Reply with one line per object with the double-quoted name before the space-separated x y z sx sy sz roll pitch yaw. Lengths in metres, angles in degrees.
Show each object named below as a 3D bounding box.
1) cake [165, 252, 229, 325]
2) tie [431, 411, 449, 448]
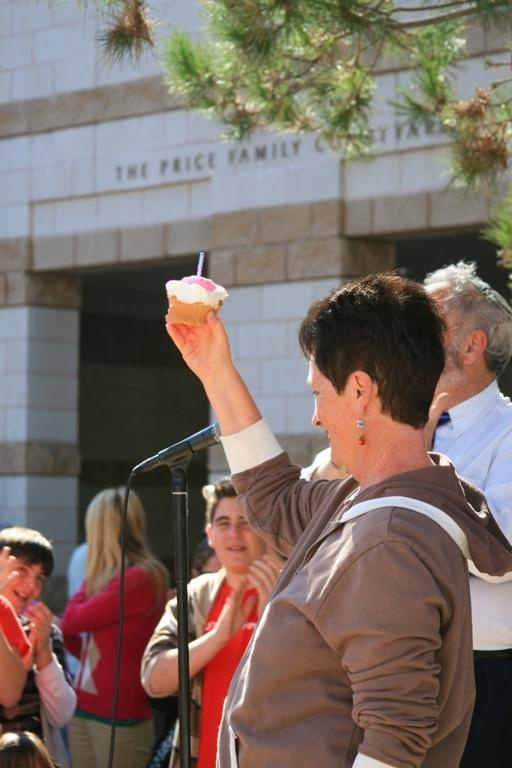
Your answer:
"cake" -0.174 -0.271 5.535 0.183 0.208 0.176 10 9 8
"tie" 0.582 0.141 6.197 0.075 0.097 0.037 1 -30 23
